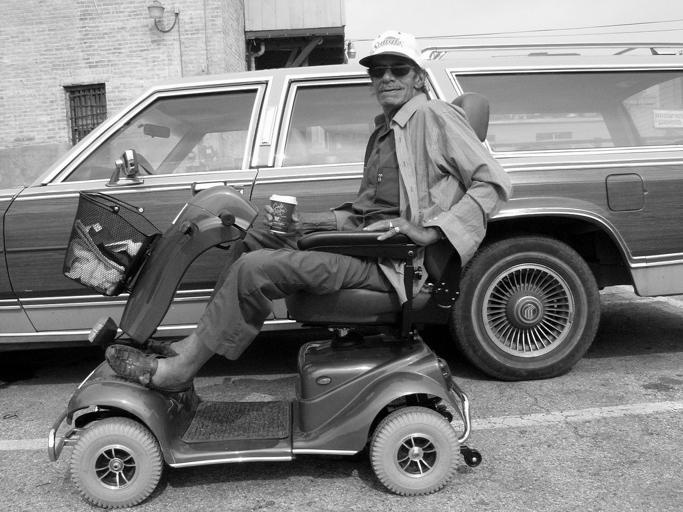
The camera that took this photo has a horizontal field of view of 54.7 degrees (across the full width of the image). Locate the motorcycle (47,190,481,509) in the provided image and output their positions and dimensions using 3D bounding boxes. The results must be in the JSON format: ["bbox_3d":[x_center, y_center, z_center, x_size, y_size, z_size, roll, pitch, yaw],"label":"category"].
[{"bbox_3d":[-0.465,0.593,4.343,2.572,1.800,1.313,0,-4,-1],"label":"motorcycle"}]

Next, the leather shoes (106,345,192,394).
[{"bbox_3d":[-0.988,0.638,3.616,0.541,0.204,0.212,15,-25,-26],"label":"leather shoes"}]

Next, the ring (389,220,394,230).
[{"bbox_3d":[0.269,-0.161,3.562,0.020,0.041,0.046,-3,13,-4],"label":"ring"}]

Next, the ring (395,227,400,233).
[{"bbox_3d":[0.298,-0.136,3.535,0.030,0.033,0.008,1,-1,-6],"label":"ring"}]

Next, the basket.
[{"bbox_3d":[-1.257,-0.032,3.847,0.508,0.621,0.607,21,2,-8],"label":"basket"}]

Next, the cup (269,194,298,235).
[{"bbox_3d":[-0.323,-0.229,3.739,0.191,0.214,0.193,1,9,0],"label":"cup"}]

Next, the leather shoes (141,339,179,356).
[{"bbox_3d":[-1.008,0.531,3.726,0.160,0.071,0.102,3,15,8],"label":"leather shoes"}]
